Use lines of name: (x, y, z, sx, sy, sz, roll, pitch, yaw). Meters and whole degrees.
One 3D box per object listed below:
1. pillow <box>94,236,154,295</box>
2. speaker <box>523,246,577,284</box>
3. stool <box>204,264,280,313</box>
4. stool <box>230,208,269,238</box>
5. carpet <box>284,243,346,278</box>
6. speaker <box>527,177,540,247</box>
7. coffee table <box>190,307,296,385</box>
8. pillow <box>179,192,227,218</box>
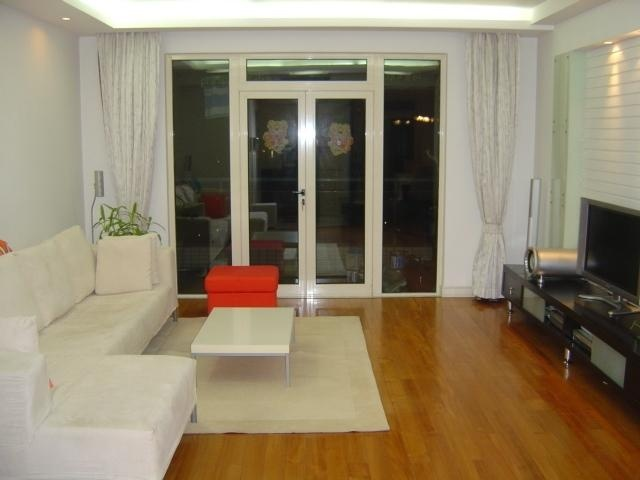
pillow: (-1.840, 0.254, 4.695, 0.529, 0.597, 0.189, -4, -11, -27)
speaker: (2.258, 0.252, 4.837, 0.470, 0.321, 0.256, 0, 7, 0)
stool: (-0.829, 0.524, 5.186, 0.757, 0.359, 0.605, -2, 12, -7)
stool: (-0.787, -0.237, 5.821, 0.325, 0.305, 0.338, -1, 18, -2)
carpet: (0.094, 0.241, 6.109, 0.577, 0.423, 0.143, 1, 9, -2)
speaker: (2.400, -0.304, 5.522, 0.113, 0.741, 0.368, 5, 13, 24)
coffee table: (-0.588, 0.742, 3.921, 0.487, 0.180, 0.753, 0, 12, -2)
pillow: (-1.400, -0.421, 5.950, 0.572, 0.316, 0.056, 1, 12, 7)
